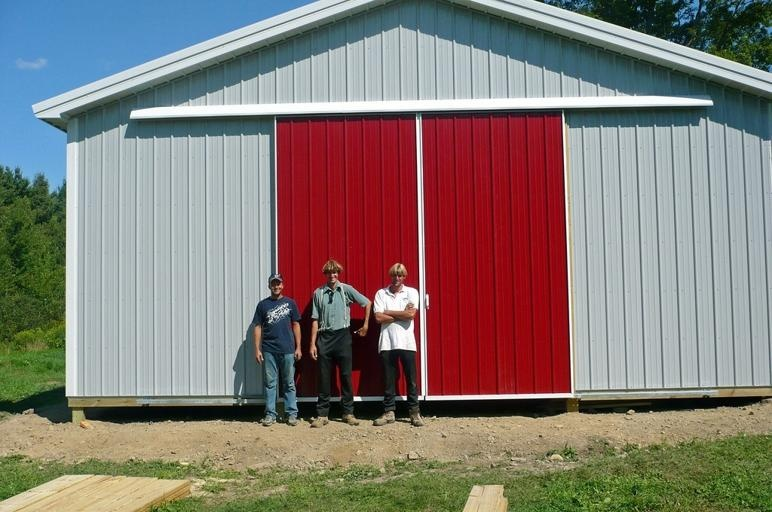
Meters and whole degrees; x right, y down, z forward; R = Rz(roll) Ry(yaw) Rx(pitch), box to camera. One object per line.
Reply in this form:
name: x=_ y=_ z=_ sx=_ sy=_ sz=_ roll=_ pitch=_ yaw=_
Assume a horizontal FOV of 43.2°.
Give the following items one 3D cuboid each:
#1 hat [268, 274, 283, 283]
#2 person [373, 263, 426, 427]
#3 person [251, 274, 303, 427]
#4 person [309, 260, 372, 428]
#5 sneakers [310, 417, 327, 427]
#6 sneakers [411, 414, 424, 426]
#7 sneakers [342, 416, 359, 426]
hat: x=-2.085 y=0.415 z=18.490 sx=0.201 sy=0.155 sz=0.335 roll=1 pitch=1 yaw=-3
person: x=0.196 y=1.671 z=18.279 sx=0.804 sy=2.894 sz=0.814 roll=-1 pitch=12 yaw=1
person: x=-2.045 y=1.769 z=18.458 sx=0.859 sy=2.743 sz=0.699 roll=-3 pitch=12 yaw=-7
person: x=-0.945 y=1.633 z=18.372 sx=1.056 sy=2.982 sz=0.754 roll=-3 pitch=12 yaw=-5
sneakers: x=-1.269 y=3.106 z=18.307 sx=0.152 sy=0.133 sz=0.287 roll=-6 pitch=-15 yaw=29
sneakers: x=0.573 y=3.056 z=18.257 sx=0.255 sy=0.201 sz=0.210 roll=-1 pitch=13 yaw=1
sneakers: x=-0.663 y=3.099 z=18.419 sx=0.256 sy=0.126 sz=0.154 roll=-3 pitch=-3 yaw=30
